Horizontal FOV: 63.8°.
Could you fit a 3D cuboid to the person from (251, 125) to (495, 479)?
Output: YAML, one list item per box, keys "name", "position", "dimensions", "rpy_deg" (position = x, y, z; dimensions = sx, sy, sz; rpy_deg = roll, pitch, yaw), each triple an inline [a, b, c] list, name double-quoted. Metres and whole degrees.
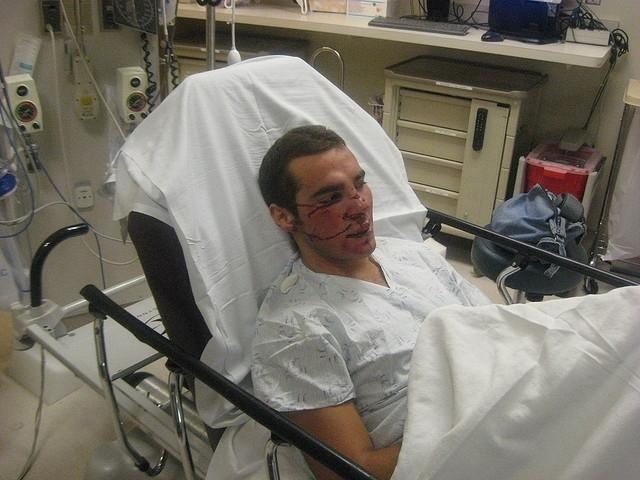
- name: "person"
  position: [0.156, 0.180, 1.386]
  dimensions: [0.676, 0.854, 0.684]
  rpy_deg: [0, 20, -8]

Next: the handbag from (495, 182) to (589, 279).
- name: "handbag"
  position: [0.947, -0.103, 2.222]
  dimensions: [0.381, 0.190, 0.366]
  rpy_deg: [-2, 32, 20]

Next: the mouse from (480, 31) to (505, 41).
- name: "mouse"
  position: [0.906, -1.070, 2.698]
  dimensions: [0.114, 0.070, 0.235]
  rpy_deg: [9, 21, 16]
